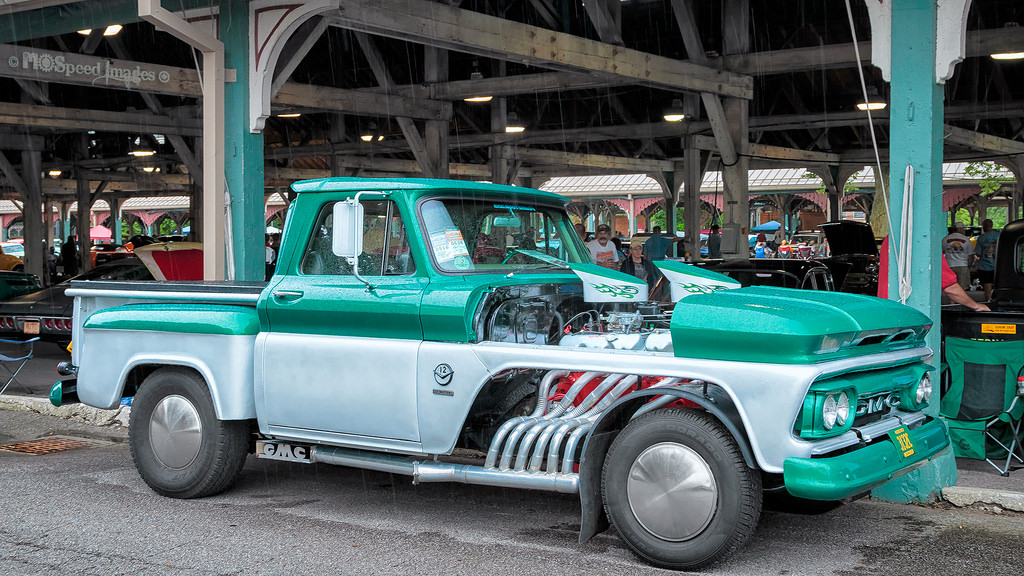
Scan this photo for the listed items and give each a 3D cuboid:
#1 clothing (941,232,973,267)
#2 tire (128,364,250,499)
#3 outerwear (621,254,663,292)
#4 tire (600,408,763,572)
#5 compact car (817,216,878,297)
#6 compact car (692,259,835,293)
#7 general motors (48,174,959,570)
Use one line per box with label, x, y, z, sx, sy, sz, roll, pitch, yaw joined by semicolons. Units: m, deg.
clothing;10.526;-0.943;16.772;0.764;0.826;0.479;8;20;44
tire;-3.285;1.468;7.284;1.435;1.468;0.536;-3;1;27
outerwear;2.112;-0.247;11.390;0.813;0.739;0.444;9;-8;-44
tire;1.408;1.625;5.767;1.353;1.298;0.526;3;10;27
compact car;7.637;-0.779;15.961;1.613;1.367;2.368;3;7;26
compact car;4.676;-0.263;12.383;2.083;0.697;1.184;1;5;-11
general motors;-0.353;0.697;6.866;7.084;2.500;3.655;0;0;31
